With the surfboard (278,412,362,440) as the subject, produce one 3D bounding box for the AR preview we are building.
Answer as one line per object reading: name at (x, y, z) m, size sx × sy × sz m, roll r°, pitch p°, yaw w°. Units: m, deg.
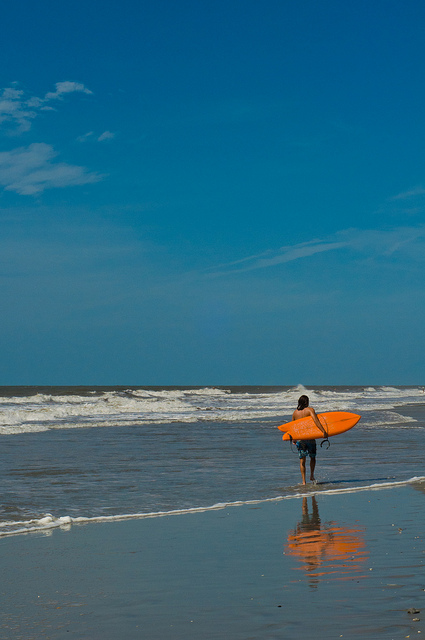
surfboard at (1.757, 1.666, 16.133) m, size 0.189 × 0.530 × 1.867 m, roll -11°, pitch -2°, yaw 44°
